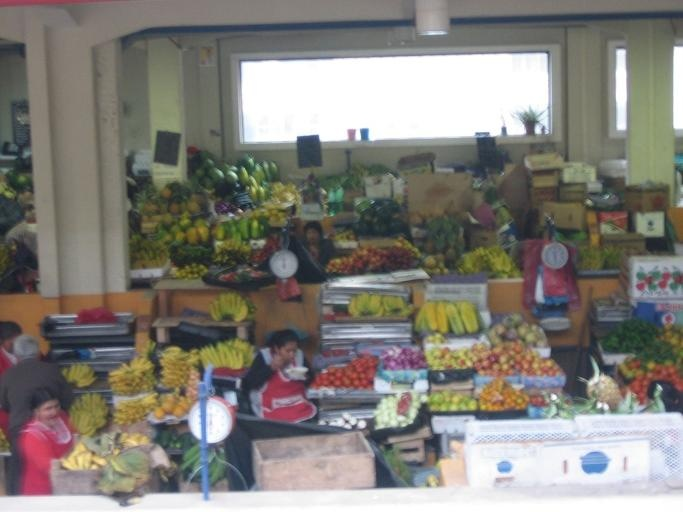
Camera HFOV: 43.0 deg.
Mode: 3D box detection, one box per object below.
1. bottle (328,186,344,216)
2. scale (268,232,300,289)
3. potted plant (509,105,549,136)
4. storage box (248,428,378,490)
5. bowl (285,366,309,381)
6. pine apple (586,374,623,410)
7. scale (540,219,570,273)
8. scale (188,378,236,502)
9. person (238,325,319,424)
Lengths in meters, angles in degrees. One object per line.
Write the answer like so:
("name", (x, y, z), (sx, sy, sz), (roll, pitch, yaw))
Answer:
("bottle", (-0.072, -0.642, 10.211), (0.184, 0.312, 0.313), (-4, 5, 1))
("scale", (-0.649, 0.162, 9.635), (0.310, 0.426, 0.169), (-4, 5, 0))
("potted plant", (2.681, -1.904, 12.235), (0.445, 0.315, 0.430), (0, 1, 11))
("storage box", (-0.220, 1.740, 7.243), (0.967, 0.305, 0.637), (-2, 7, -16))
("bowl", (-0.435, 1.137, 8.258), (0.203, 0.153, 0.174), (-5, 5, -8))
("pine apple", (2.087, 1.070, 6.834), (0.272, 0.225, 0.197), (23, -32, -3))
("scale", (2.292, -0.133, 9.503), (0.302, 0.641, 0.101), (-9, -3, 7))
("scale", (-0.993, 1.315, 6.637), (0.337, 0.976, 0.488), (-5, 5, -12))
("person", (-0.638, 1.107, 8.265), (0.668, 0.937, 0.569), (-8, 14, -27))
